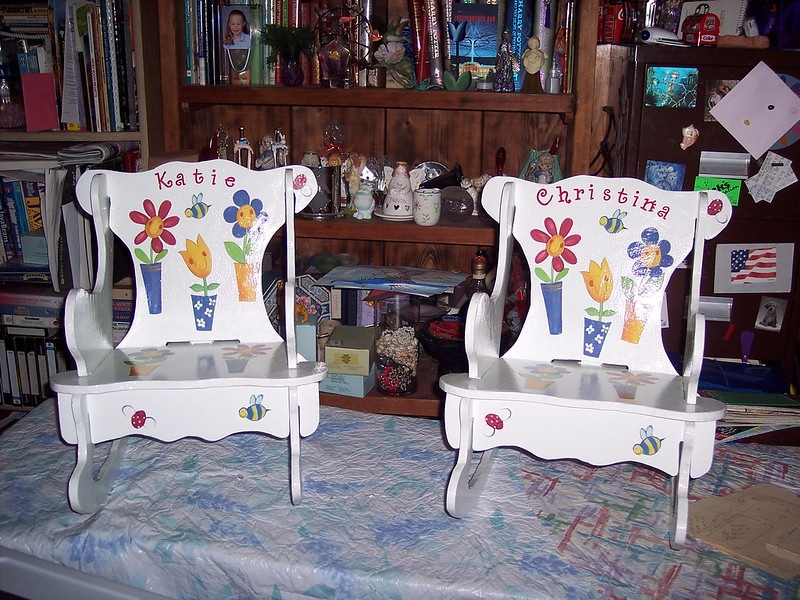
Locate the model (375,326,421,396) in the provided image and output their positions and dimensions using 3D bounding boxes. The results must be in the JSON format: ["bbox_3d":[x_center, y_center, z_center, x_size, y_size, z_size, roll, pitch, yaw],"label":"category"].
[{"bbox_3d":[-0.004,0.178,1.959,0.163,0.251,0.157,0,-3,14],"label":"model"}]

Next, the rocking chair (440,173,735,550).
[{"bbox_3d":[0.412,0.121,1.283,0.577,0.713,0.518,4,18,23],"label":"rocking chair"}]

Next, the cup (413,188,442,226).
[{"bbox_3d":[0.069,-0.301,1.906,0.106,0.121,0.112,1,7,0],"label":"cup"}]

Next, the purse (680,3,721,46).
[{"bbox_3d":[0.871,-0.799,1.721,0.093,0.101,0.088,-4,15,-18],"label":"purse"}]

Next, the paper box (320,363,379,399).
[{"bbox_3d":[-0.166,0.270,1.882,0.116,0.123,0.075,6,5,9],"label":"paper box"}]

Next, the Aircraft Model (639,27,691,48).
[{"bbox_3d":[0.760,-0.759,1.687,0.113,0.042,0.068,16,22,10],"label":"Aircraft Model"}]

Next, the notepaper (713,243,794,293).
[{"bbox_3d":[1.087,-0.107,1.794,0.149,0.112,0.008,0,13,6],"label":"notepaper"}]

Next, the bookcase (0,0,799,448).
[{"bbox_3d":[0.009,-0.247,1.661,1.275,1.274,0.427,3,11,5],"label":"bookcase"}]
